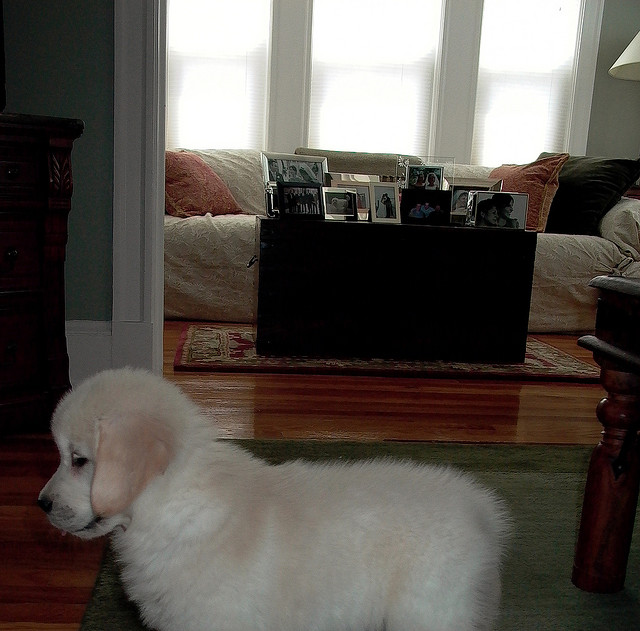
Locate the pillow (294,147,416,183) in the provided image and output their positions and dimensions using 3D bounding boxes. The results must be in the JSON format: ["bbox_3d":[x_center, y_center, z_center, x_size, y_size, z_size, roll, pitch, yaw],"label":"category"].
[{"bbox_3d":[0.187,-1.069,4.439,0.697,0.161,0.245,2,10,-3],"label":"pillow"}]

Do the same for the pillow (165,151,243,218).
[{"bbox_3d":[-0.688,-0.758,3.755,0.292,0.362,0.442,8,12,22],"label":"pillow"}]

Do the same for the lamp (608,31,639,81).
[{"bbox_3d":[2.112,-1.771,4.414,0.194,0.262,0.402,7,11,18],"label":"lamp"}]

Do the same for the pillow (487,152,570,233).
[{"bbox_3d":[1.278,-0.755,3.928,0.403,0.468,0.560,-1,11,-20],"label":"pillow"}]
